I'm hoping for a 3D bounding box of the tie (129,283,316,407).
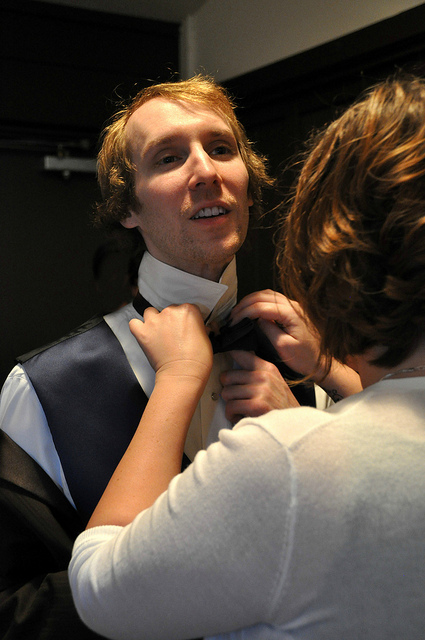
[{"bbox_3d":[-0.061,0.054,1.092,0.143,0.085,0.396,-15,22,-11],"label":"tie"}]
